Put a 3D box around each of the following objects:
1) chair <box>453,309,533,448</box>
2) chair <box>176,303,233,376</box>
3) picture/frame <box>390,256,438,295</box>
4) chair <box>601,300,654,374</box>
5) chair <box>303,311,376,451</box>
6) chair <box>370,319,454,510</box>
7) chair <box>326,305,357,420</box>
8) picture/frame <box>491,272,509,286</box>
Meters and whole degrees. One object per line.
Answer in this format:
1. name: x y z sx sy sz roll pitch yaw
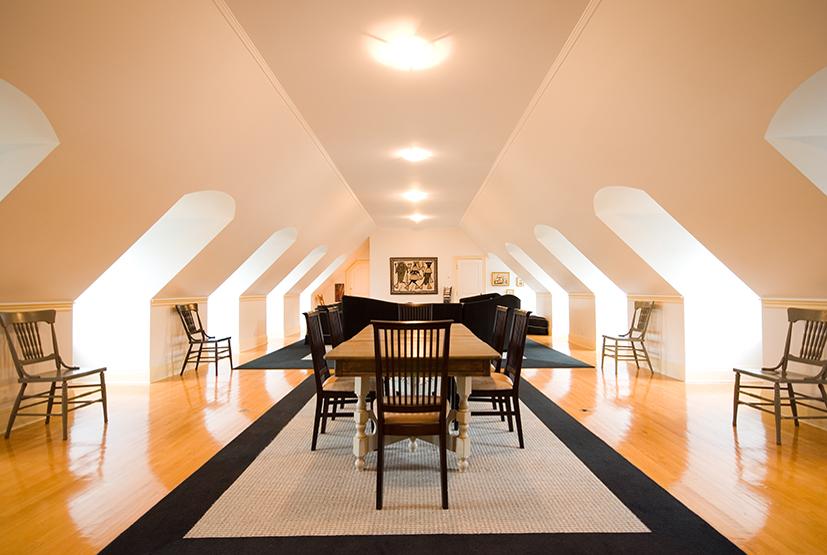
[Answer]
1. chair: 0.704 0.954 5.040 0.808 1.202 0.781 0 -7 15
2. chair: -3.107 0.901 7.742 0.686 1.005 0.678 -1 0 19
3. picture/frame: -0.031 -0.094 14.126 1.019 0.778 0.038 0 -2 -5
4. chair: 3.383 0.874 7.999 0.704 1.133 1.643 3 10 22
5. chair: -0.607 0.846 4.924 0.653 1.101 0.644 -11 -2 26
6. chair: -0.005 1.042 4.262 0.770 1.474 0.839 -1 3 -23
7. chair: -0.747 0.883 5.361 0.422 0.745 1.202 -1 -1 -3
8. picture/frame: 2.436 0.002 14.153 0.367 0.299 0.031 0 -8 3
